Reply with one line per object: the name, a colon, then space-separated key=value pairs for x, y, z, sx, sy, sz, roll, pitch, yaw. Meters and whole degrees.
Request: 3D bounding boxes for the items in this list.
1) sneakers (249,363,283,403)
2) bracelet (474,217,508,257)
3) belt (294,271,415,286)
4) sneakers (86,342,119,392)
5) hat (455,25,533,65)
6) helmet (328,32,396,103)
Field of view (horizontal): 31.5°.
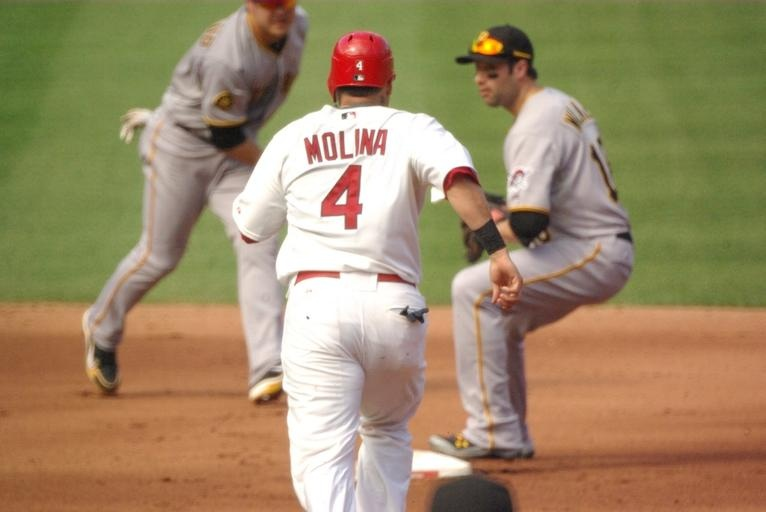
sneakers: x=-0.979 y=1.012 z=11.037 sx=0.274 sy=0.293 sz=0.197 roll=10 pitch=43 yaw=-32
bracelet: x=0.795 y=-0.161 z=9.864 sx=0.213 sy=0.261 sz=0.157 roll=-30 pitch=6 yaw=7
belt: x=-0.205 y=0.144 z=9.661 sx=0.820 sy=0.105 sz=0.089 roll=2 pitch=17 yaw=1
sneakers: x=-2.343 y=0.926 z=11.434 sx=0.190 sy=0.469 sz=0.204 roll=-14 pitch=-3 yaw=-29
hat: x=0.925 y=-1.676 z=10.804 sx=0.443 sy=0.233 sz=0.325 roll=5 pitch=3 yaw=1
helmet: x=-0.154 y=-1.386 z=9.812 sx=0.412 sy=0.392 sz=0.505 roll=1 pitch=22 yaw=2
